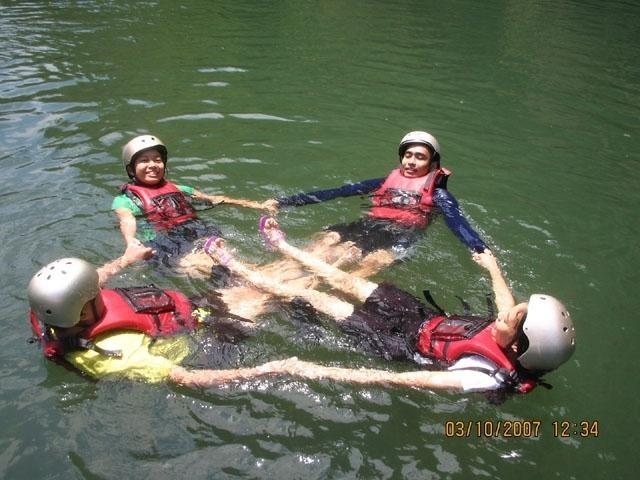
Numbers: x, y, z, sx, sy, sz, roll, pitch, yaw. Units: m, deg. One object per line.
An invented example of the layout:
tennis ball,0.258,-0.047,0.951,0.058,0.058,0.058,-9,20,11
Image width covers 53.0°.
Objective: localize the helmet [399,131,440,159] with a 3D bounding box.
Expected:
helmet,1.500,-1.454,9.681,0.559,0.317,0.517,8,13,12
